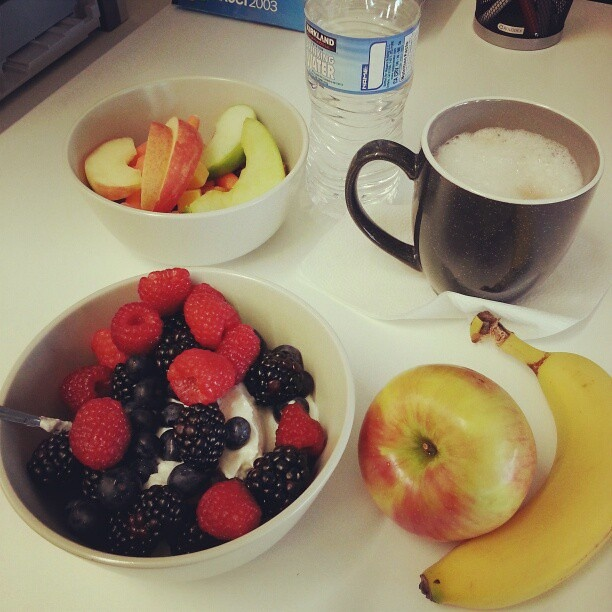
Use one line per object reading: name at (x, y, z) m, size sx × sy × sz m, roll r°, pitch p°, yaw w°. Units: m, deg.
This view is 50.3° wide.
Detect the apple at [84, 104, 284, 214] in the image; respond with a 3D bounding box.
apple at (-0.162, -0.185, 0.876) m, size 0.161 × 0.086 × 0.196 m, roll -1°, pitch 40°, yaw 2°

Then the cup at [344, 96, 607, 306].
cup at (0.174, -0.087, 0.734) m, size 0.238 × 0.206 × 0.201 m, roll 7°, pitch 52°, yaw 9°

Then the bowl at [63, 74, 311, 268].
bowl at (-0.158, -0.198, 0.880) m, size 0.261 × 0.136 × 0.281 m, roll 0°, pitch 46°, yaw 0°
